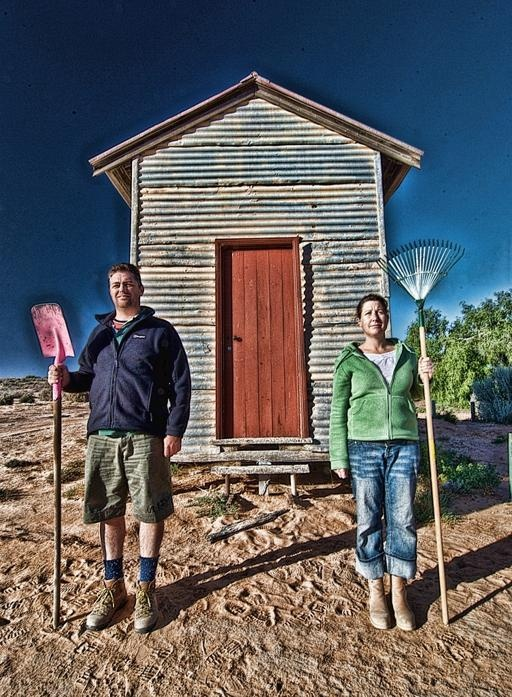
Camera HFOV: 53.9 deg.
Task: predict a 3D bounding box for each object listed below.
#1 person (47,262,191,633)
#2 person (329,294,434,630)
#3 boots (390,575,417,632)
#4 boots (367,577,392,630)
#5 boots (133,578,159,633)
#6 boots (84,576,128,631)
[{"bbox_3d":[-0.848,0.710,3.293,0.858,2.006,0.505,0,2,8],"label":"person"},{"bbox_3d":[0.796,0.678,3.264,0.629,2.039,0.439,1,2,19],"label":"person"},{"bbox_3d":[0.906,1.550,3.169,0.120,0.294,0.239,-1,2,-10],"label":"boots"},{"bbox_3d":[0.765,1.570,3.205,0.125,0.231,0.364,-1,-6,6],"label":"boots"},{"bbox_3d":[-0.693,1.585,3.175,0.152,0.272,0.234,-1,2,-14],"label":"boots"},{"bbox_3d":[-0.953,1.605,3.253,0.153,0.210,0.454,-5,0,11],"label":"boots"}]
